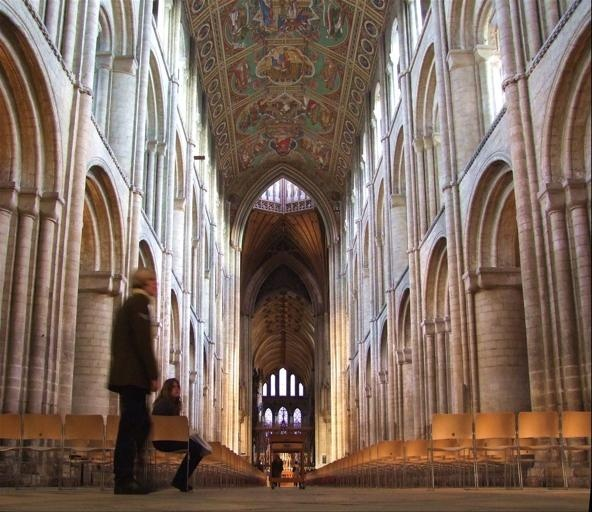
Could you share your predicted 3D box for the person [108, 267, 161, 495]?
[{"bbox_3d":[-1.513,1.107,6.521,0.426,2.188,0.495,-12,-20,32],"label":"person"}]
